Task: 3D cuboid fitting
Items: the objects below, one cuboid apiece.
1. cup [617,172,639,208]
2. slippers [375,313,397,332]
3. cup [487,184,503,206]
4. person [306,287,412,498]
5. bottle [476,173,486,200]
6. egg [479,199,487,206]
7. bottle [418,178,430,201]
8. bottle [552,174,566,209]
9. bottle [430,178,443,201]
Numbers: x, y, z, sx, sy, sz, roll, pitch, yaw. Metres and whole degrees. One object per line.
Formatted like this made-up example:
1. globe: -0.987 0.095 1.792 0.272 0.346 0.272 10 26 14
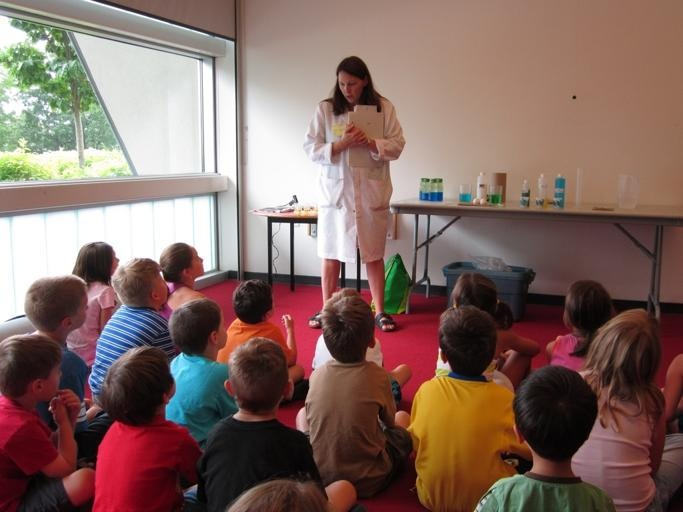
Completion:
1. cup: 2.204 -0.487 3.924 0.132 0.255 0.195 5 7 27
2. slippers: 0.343 0.514 3.966 0.089 0.082 0.250 -2 6 -2
3. cup: 1.243 -0.491 4.141 0.101 0.187 0.178 0 3 4
4. person: 0.095 0.520 2.186 0.434 0.776 0.531 2 13 5
5. bottle: 1.188 -0.568 4.302 0.085 0.248 0.388 3 7 15
6. egg: 1.146 -0.432 4.125 0.059 0.068 0.064 0 -3 8
7. bottle: 0.722 -0.568 4.415 0.084 0.193 0.139 3 6 8
8. bottle: 1.723 -0.501 4.013 0.082 0.249 0.256 4 7 24
9. bottle: 0.816 -0.561 4.402 0.104 0.192 0.209 3 6 9
